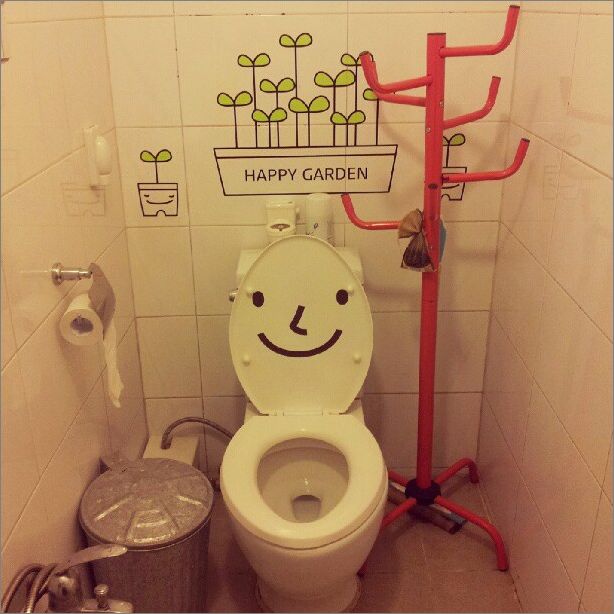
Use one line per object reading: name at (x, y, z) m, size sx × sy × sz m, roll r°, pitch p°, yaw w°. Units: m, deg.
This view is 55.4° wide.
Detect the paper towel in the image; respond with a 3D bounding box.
paper towel at (-0.518, 0.115, 1.384) m, size 0.081 × 0.306 × 0.203 m, roll -1°, pitch 22°, yaw -5°
